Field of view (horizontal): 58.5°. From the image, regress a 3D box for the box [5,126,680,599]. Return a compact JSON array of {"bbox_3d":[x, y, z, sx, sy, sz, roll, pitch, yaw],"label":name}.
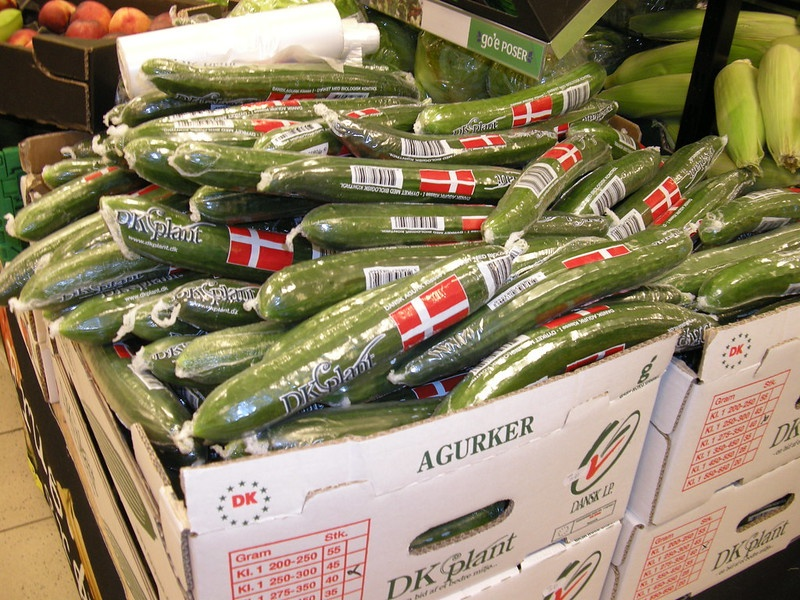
[{"bbox_3d":[-0.329,0.269,1.889,1.250,0.813,1.336,-16,67,-14],"label":"box"}]
